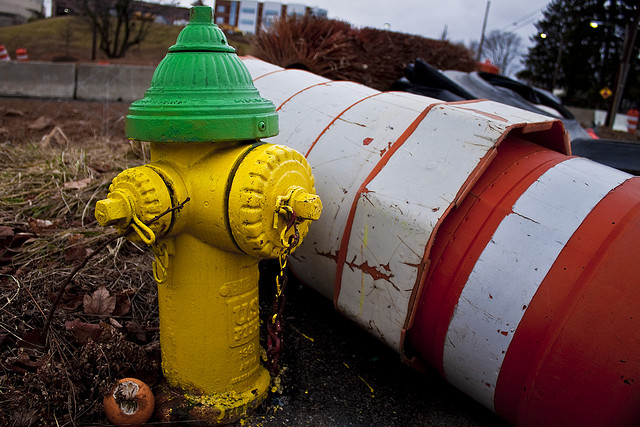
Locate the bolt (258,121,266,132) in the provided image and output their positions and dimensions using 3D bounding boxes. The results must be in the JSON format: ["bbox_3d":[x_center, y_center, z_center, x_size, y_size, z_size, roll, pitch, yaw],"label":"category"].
[{"bbox_3d":[-0.325,-0.479,3.159,0.055,0.055,0.017,-5,-2,-42],"label":"bolt"}]

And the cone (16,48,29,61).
[{"bbox_3d":[-2.258,-1.195,4.328,0.079,0.087,0.077,2,6,-12],"label":"cone"}]

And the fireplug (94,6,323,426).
[{"bbox_3d":[-0.604,0.066,3.254,1.104,2.295,0.716,5,22,-1],"label":"fireplug"}]
